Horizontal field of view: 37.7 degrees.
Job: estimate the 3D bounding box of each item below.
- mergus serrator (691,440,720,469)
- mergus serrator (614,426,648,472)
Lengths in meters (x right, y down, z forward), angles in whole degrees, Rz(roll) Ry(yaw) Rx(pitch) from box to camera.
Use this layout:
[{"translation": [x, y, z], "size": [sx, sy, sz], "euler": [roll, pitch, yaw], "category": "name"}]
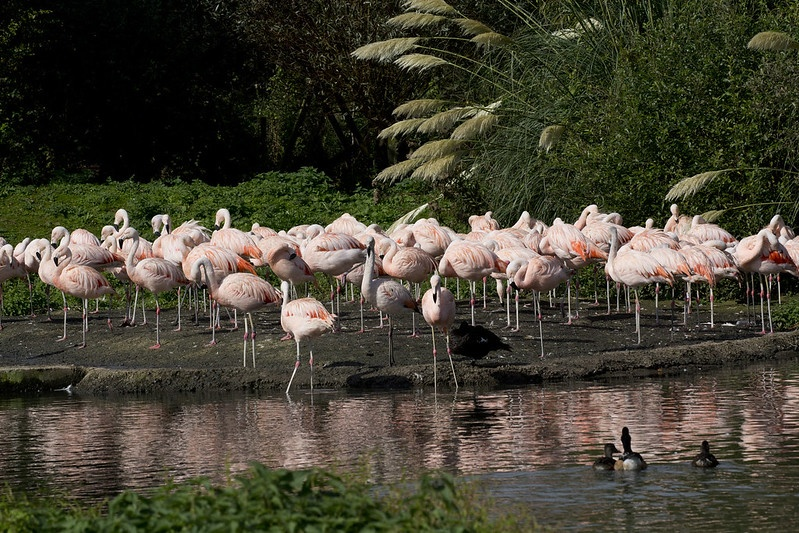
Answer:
[{"translation": [4.312, 2.671, 16.609], "size": [0.333, 0.408, 0.279], "euler": [4, -19, 17], "category": "mergus serrator"}, {"translation": [3.305, 2.590, 16.746], "size": [0.442, 0.550, 0.471], "euler": [0, 11, 9], "category": "mergus serrator"}]
